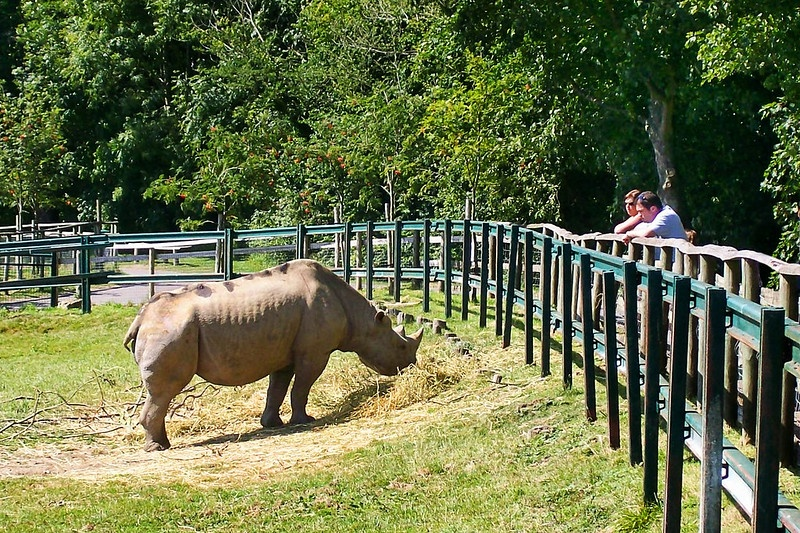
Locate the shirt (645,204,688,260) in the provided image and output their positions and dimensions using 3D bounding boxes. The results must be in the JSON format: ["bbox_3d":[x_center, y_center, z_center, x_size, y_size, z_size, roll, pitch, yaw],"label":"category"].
[{"bbox_3d":[4.272,-0.489,17.452,0.691,0.976,0.707,9,20,38],"label":"shirt"}]
